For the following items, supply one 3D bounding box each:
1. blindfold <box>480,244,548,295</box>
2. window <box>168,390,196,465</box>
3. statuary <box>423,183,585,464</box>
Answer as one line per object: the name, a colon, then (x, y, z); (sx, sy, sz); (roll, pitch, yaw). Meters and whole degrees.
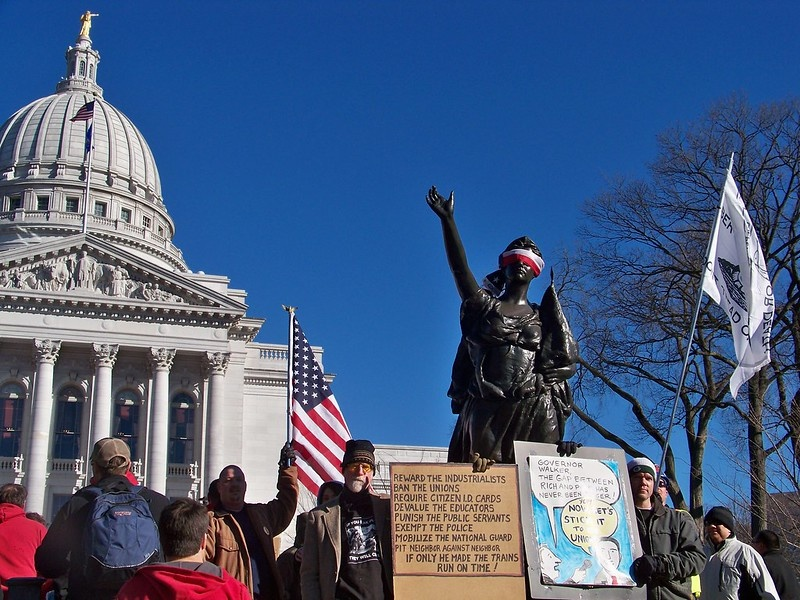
blindfold: (1.033, -0.267, 8.866); (0.349, 0.476, 0.463); (11, -11, -9)
window: (-11.913, 7.014, 54.416); (1.333, 3.849, 0.686); (2, -14, -16)
statuary: (0.972, 0.283, 9.267); (1.245, 2.641, 1.069); (-4, -14, 8)
